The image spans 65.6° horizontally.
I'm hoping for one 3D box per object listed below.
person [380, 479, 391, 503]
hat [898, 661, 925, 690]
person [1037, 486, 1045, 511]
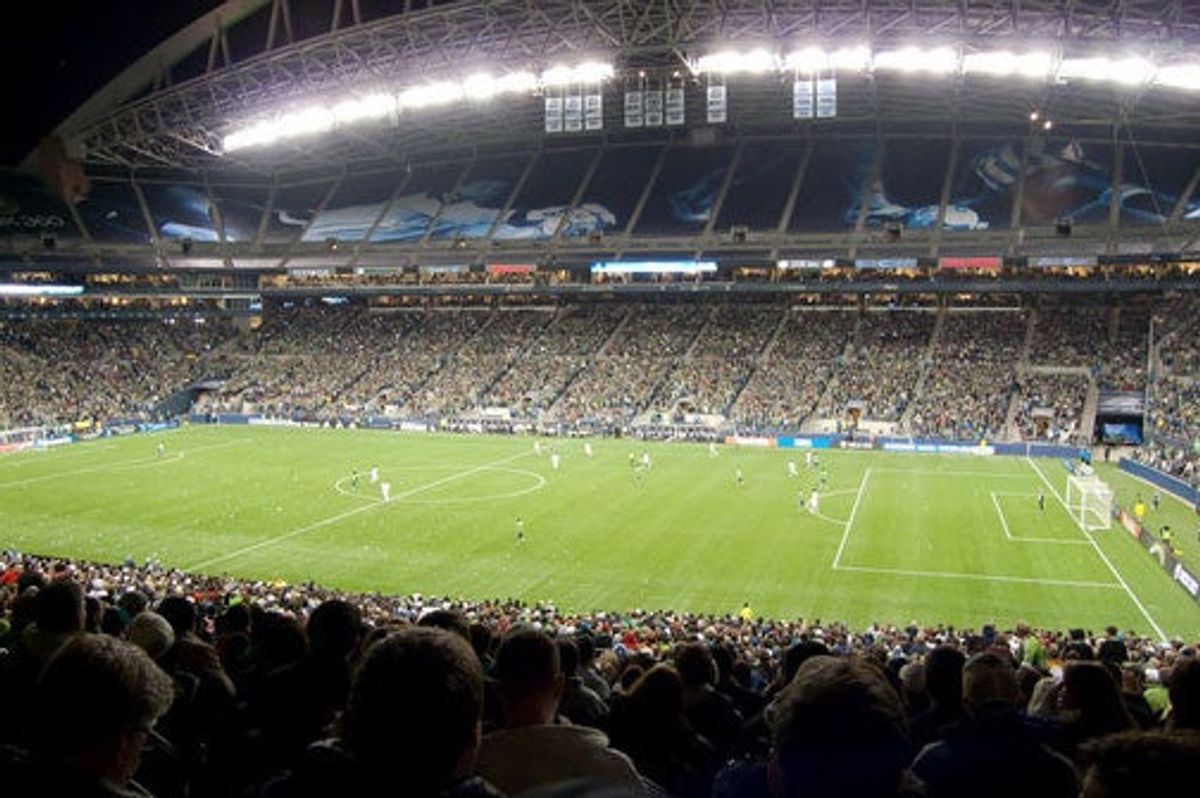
[{"bbox_3d":[-13.141,5.716,57.117,0.515,1.142,2.258,10,-9,-13],"label":"person"},{"bbox_3d":[7.227,6.393,21.364,0.469,0.571,0.577,25,-24,-22],"label":"hat"},{"bbox_3d":[26.390,6.044,55.746,0.406,1.178,0.753,5,-3,32],"label":"person"}]
